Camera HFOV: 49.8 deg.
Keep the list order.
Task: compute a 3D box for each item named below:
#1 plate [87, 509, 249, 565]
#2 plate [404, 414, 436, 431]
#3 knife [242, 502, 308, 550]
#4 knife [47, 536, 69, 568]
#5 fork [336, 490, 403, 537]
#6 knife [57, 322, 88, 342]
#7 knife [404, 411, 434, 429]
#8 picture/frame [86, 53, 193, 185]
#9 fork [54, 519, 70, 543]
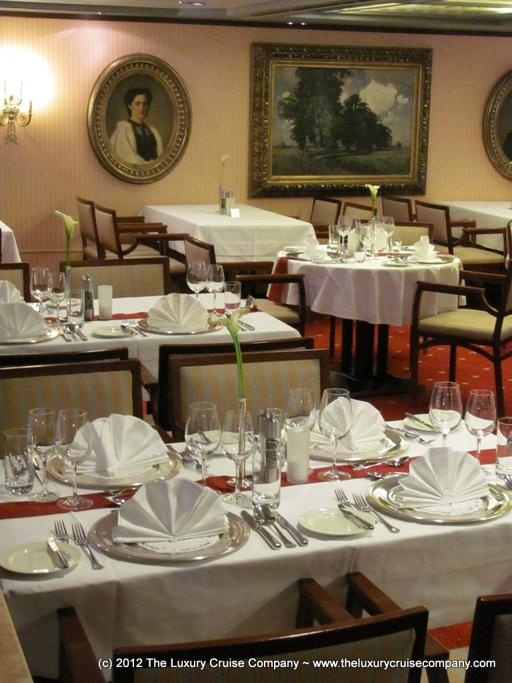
[{"bbox_3d":[-0.176,0.387,1.100,0.321,0.043,0.228,3,12,0],"label":"plate"},{"bbox_3d":[0.556,0.275,1.866,0.059,0.013,0.056,19,13,16],"label":"plate"},{"bbox_3d":[0.036,0.377,1.150,0.047,0.012,0.139,-4,10,-16],"label":"knife"},{"bbox_3d":[-0.359,0.385,1.002,0.024,0.023,0.161,-2,9,-23],"label":"knife"},{"bbox_3d":[0.237,0.377,1.220,0.037,0.038,0.273,-9,15,-13],"label":"fork"},{"bbox_3d":[-0.957,-0.050,2.855,0.082,0.041,0.272,-9,15,-26],"label":"knife"},{"bbox_3d":[0.559,0.266,1.864,0.061,0.013,0.057,11,17,-20],"label":"knife"},{"bbox_3d":[-1.673,-3.161,7.645,1.877,2.129,0.180,0,11,-21],"label":"picture/frame"},{"bbox_3d":[-0.391,0.382,1.111,0.018,0.015,0.127,2,8,-13],"label":"fork"}]
